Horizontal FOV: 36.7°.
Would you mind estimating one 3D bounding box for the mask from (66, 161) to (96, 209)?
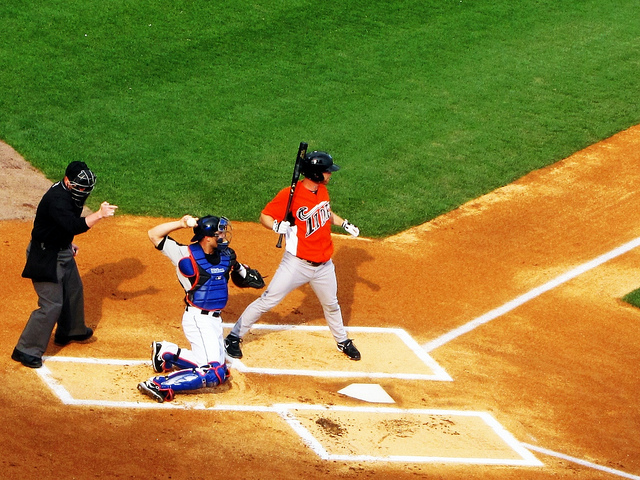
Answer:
[{"bbox_3d":[-3.390,-0.685,13.678,0.386,0.845,0.438,3,41,-17],"label":"mask"}]

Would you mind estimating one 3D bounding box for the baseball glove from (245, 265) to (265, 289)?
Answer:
[{"bbox_3d":[-0.959,0.533,13.869,0.173,0.153,0.398,20,7,-33],"label":"baseball glove"}]
